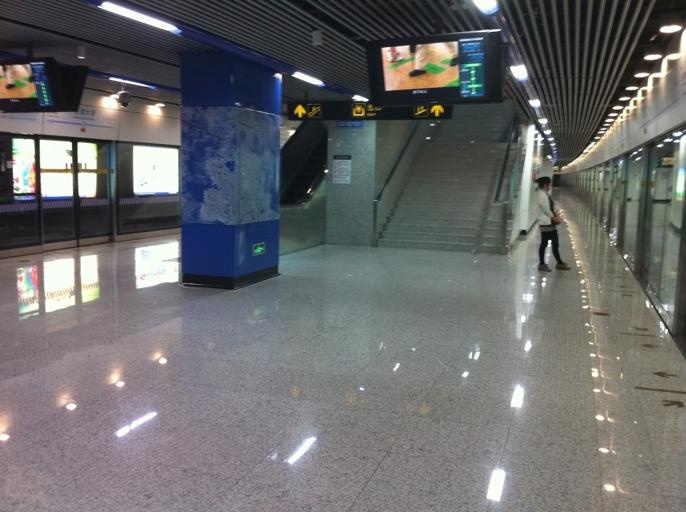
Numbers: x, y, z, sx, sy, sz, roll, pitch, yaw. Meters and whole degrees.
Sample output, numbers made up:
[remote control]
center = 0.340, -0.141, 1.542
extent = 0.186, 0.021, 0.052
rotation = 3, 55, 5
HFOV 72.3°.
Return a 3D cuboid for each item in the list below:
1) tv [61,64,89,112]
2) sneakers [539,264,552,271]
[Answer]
[tv]
center = -4.050, -2.567, 7.155
extent = 0.370, 0.708, 0.507
rotation = -5, 14, -27
[sneakers]
center = 3.722, 0.220, 8.750
extent = 0.206, 0.106, 0.224
rotation = 1, 12, -3
